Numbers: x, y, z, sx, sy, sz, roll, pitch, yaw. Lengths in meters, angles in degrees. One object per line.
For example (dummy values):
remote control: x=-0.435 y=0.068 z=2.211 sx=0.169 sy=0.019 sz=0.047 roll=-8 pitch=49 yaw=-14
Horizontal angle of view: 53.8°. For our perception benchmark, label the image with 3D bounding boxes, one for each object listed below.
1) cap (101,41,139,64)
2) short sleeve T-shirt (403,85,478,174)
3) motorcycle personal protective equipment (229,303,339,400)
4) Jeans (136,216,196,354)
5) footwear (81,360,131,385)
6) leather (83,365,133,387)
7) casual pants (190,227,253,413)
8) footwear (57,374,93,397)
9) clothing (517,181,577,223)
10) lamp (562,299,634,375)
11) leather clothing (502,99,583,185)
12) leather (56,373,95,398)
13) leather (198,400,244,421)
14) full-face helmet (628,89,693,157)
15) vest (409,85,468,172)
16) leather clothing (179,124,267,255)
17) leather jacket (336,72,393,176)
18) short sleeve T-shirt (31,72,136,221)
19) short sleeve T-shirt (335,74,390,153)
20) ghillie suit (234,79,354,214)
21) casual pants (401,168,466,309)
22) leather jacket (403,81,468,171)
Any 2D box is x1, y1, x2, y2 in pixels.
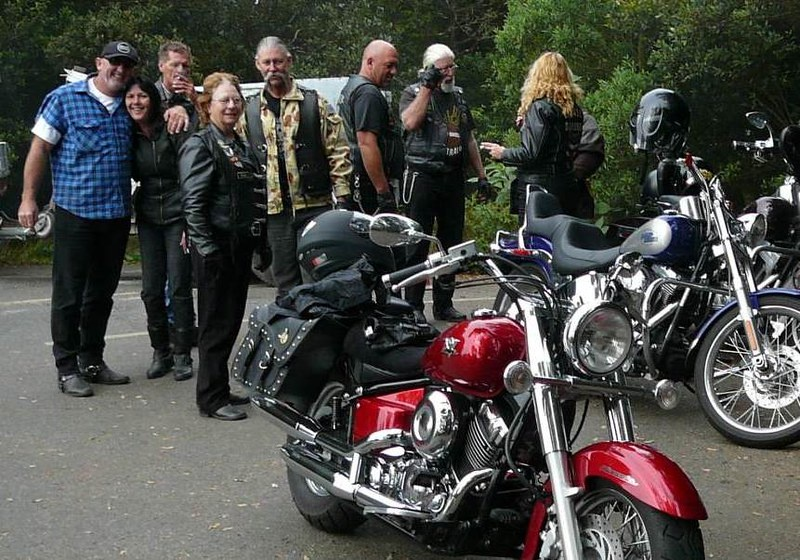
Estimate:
cap: x=-2.314 y=-1.877 z=6.521 sx=0.203 sy=0.155 sz=0.275 roll=1 pitch=8 yaw=-34
short sleeve T-shirt: x=0.367 y=-1.487 z=7.915 sx=1.004 sy=1.052 sz=0.537 roll=-5 pitch=6 yaw=-41
motorcycle personal protective equipment: x=-0.682 y=0.419 z=4.485 sx=0.351 sy=0.435 sz=0.591 roll=8 pitch=8 yaw=-45
Jeans: x=-2.037 y=-0.016 z=6.946 sx=0.490 sy=1.504 sz=0.394 roll=-3 pitch=5 yaw=-7
footwear: x=-2.554 y=0.810 z=6.857 sx=0.434 sy=0.182 sz=0.169 roll=3 pitch=5 yaw=-3
leather: x=-2.518 y=0.838 z=6.861 sx=0.394 sy=0.171 sz=0.163 roll=1 pitch=4 yaw=-2
casual pants: x=-1.339 y=0.232 z=6.084 sx=0.417 sy=1.589 sz=0.509 roll=2 pitch=10 yaw=15
footwear: x=-2.669 y=0.881 z=6.529 sx=0.317 sy=0.135 sz=0.138 roll=4 pitch=7 yaw=42
clothing: x=1.378 y=-0.787 z=7.662 sx=0.526 sy=0.346 sz=0.427 roll=4 pitch=5 yaw=10
lamp: x=0.847 y=0.257 z=3.419 sx=0.333 sy=0.322 sz=0.191 roll=-1 pitch=1 yaw=-25
leather clothing: x=1.452 y=-1.280 z=7.890 sx=0.594 sy=0.994 sz=1.044 roll=7 pitch=7 yaw=35
leather: x=-2.666 y=0.886 z=6.534 sx=0.338 sy=0.146 sz=0.137 roll=4 pitch=8 yaw=44
leather: x=-1.343 y=1.013 z=6.062 sx=0.282 sy=0.105 sz=0.148 roll=-2 pitch=-2 yaw=10
full-face helmet: x=2.132 y=-1.274 z=6.457 sx=0.565 sy=0.616 sz=0.468 roll=-1 pitch=6 yaw=-2
vest: x=0.350 y=-1.488 z=7.863 sx=0.802 sy=0.918 sz=0.491 roll=-5 pitch=9 yaw=-42
leather clothing: x=-1.293 y=-0.712 z=6.162 sx=0.582 sy=0.969 sz=0.995 roll=0 pitch=9 yaw=16
leather jacket: x=-0.323 y=-1.396 z=7.249 sx=0.407 sy=0.791 sz=0.759 roll=-13 pitch=30 yaw=-15
short sleeve T-shirt: x=-2.606 y=-1.074 z=6.562 sx=0.637 sy=1.142 sz=0.456 roll=2 pitch=13 yaw=10
short sleeve T-shirt: x=-0.335 y=-1.500 z=7.253 sx=0.392 sy=0.720 sz=0.670 roll=-12 pitch=19 yaw=-15
ghillie suit: x=-0.955 y=-1.154 z=6.810 sx=1.023 sy=1.101 sz=0.547 roll=0 pitch=22 yaw=8
casual pants: x=0.342 y=-0.447 z=8.177 sx=0.658 sy=1.704 sz=0.456 roll=-2 pitch=1 yaw=-38
leather jacket: x=0.332 y=-1.507 z=7.865 sx=0.879 sy=0.885 sz=0.465 roll=-6 pitch=7 yaw=-42
